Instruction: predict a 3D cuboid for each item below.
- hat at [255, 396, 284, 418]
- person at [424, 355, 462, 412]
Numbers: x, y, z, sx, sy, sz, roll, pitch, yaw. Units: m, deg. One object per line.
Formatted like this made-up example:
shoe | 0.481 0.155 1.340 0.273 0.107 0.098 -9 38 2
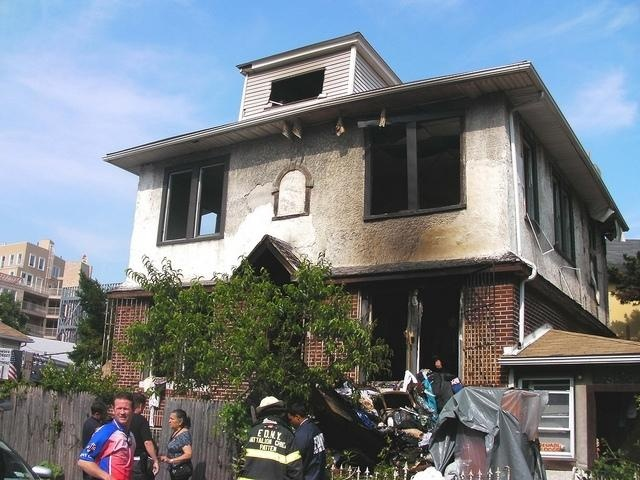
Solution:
hat | -0.732 2.529 9.758 0.309 0.214 0.426 -6 -6 3
person | 2.523 2.994 13.171 0.613 0.896 0.372 -8 -25 -13
